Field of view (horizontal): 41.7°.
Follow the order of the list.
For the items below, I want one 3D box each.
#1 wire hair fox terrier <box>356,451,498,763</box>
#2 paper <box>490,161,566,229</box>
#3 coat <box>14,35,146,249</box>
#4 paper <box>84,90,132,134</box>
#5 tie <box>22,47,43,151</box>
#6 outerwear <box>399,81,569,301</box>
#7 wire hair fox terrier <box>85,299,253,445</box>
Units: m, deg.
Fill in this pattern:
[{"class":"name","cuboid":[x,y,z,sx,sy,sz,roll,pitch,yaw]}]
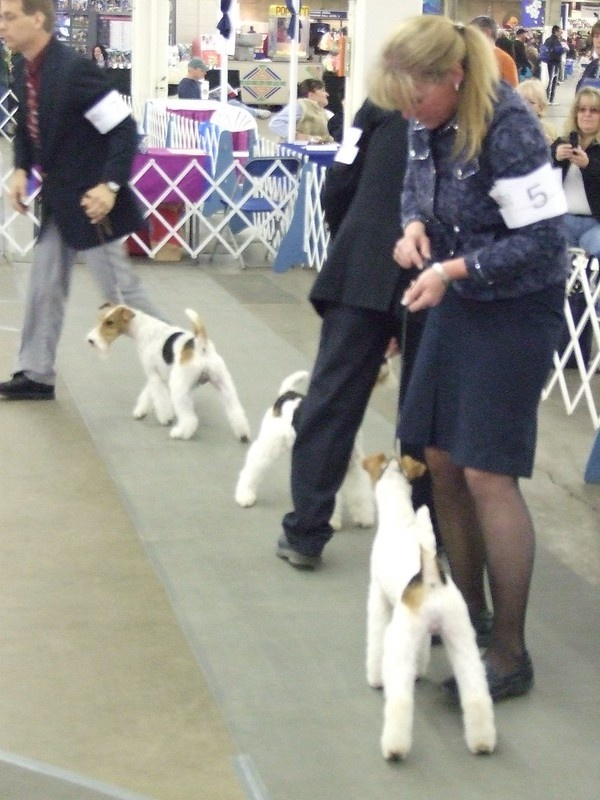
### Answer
[{"class":"wire hair fox terrier","cuboid":[0.132,0.440,1.680,0.254,0.456,0.686,-1,13,-7]},{"class":"paper","cuboid":[0.448,-0.398,1.586,0.149,0.109,0.055,-9,12,40]},{"class":"coat","cuboid":[-1.144,-1.341,4.037,0.674,1.152,0.542,7,31,9]},{"class":"paper","cuboid":[-0.921,-1.410,3.870,0.146,0.205,0.232,15,17,40]},{"class":"tie","cuboid":[-1.310,-1.459,3.874,0.080,0.443,0.207,-2,15,-20]},{"class":"outerwear","cuboid":[0.386,-0.463,1.730,0.330,0.396,0.477,-17,25,-15]},{"class":"wire hair fox terrier","cuboid":[-0.672,-0.154,3.944,0.859,0.657,0.334,13,17,38]}]
